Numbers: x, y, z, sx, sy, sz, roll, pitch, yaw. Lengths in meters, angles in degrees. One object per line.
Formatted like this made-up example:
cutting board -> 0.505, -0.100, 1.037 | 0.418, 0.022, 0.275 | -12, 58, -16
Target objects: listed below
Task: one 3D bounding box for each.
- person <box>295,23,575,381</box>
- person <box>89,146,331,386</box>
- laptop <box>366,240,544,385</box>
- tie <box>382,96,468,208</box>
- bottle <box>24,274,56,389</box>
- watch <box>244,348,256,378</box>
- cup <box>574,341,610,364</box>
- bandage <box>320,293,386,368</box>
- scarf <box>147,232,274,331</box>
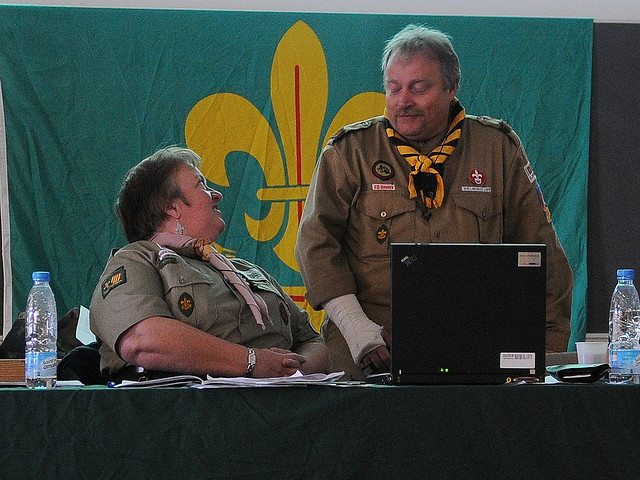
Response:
person -> 0.361, -0.192, 2.726 | 0.724, 1.519, 0.731 | 3, 9, 1
person -> -0.394, 0.136, 2.366 | 0.569, 0.932, 0.550 | -4, 11, -34
laptop -> 0.392, 0.185, 2.104 | 0.426, 0.357, 0.369 | 0, -1, -1
tie -> 0.378, -0.311, 2.708 | 0.258, 0.450, 0.207 | 1, -7, 15
bottle -> -0.752, 0.236, 2.002 | 0.077, 0.297, 0.279 | 1, -7, -22
watch -> -0.198, 0.347, 2.142 | 0.039, 0.067, 0.060 | 6, -21, -5
cup -> 0.815, 0.335, 2.236 | 0.089, 0.062, 0.114 | -4, -7, 21
bandage -> 0.122, 0.291, 2.449 | 0.162, 0.128, 0.287 | -2, 31, -36
scarf -> -0.334, 0.086, 2.444 | 0.522, 0.128, 0.211 | 40, 19, 19
